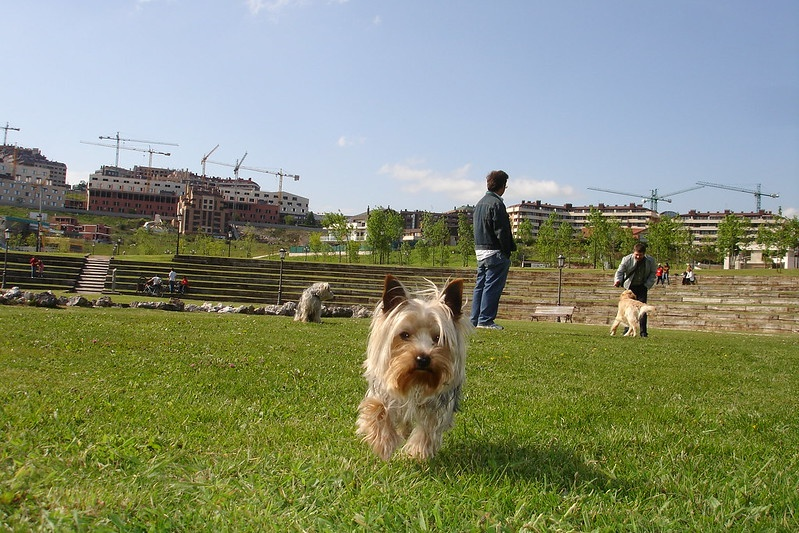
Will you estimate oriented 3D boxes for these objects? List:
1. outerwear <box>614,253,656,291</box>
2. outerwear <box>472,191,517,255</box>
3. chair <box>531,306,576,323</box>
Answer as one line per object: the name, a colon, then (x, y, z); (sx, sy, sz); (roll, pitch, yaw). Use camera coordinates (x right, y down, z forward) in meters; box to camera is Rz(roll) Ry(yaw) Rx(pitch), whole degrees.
outerwear: (6.693, 0.131, 17.688); (1.246, 1.313, 0.888); (0, 7, 16)
outerwear: (2.355, -1.071, 15.512); (0.841, 1.082, 1.123); (3, -1, -20)
chair: (8.424, 2.557, 33.028); (1.634, 0.874, 3.276); (3, -1, -21)
